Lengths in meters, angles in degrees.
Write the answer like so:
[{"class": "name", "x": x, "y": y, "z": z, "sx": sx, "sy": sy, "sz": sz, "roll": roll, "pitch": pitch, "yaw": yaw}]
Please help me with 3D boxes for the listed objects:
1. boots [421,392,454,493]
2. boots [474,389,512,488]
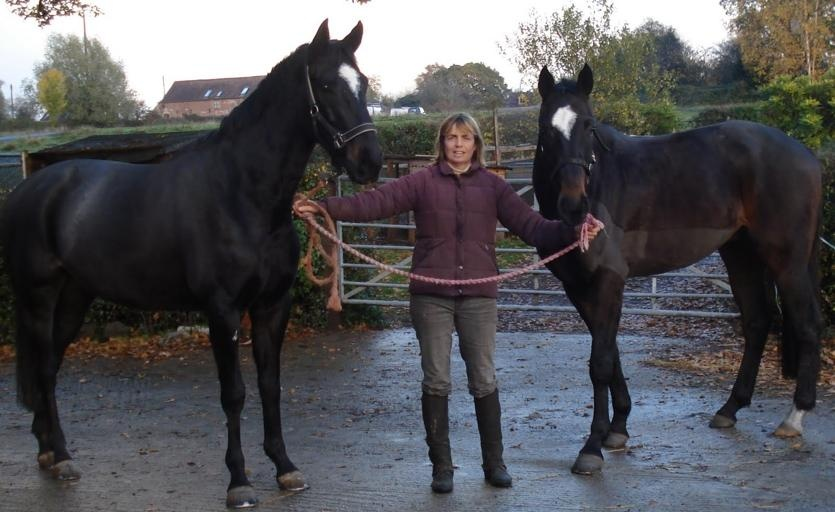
[{"class": "boots", "x": 0.194, "y": 1.717, "z": 8.339, "sx": 0.283, "sy": 0.824, "sz": 0.516, "roll": -1, "pitch": 13, "yaw": -1}, {"class": "boots", "x": 0.722, "y": 1.682, "z": 8.400, "sx": 0.348, "sy": 0.813, "sz": 0.549, "roll": 0, "pitch": 13, "yaw": 3}]
